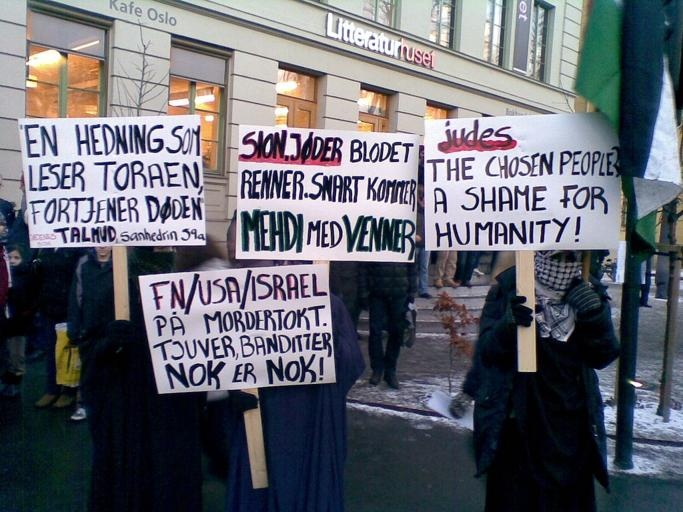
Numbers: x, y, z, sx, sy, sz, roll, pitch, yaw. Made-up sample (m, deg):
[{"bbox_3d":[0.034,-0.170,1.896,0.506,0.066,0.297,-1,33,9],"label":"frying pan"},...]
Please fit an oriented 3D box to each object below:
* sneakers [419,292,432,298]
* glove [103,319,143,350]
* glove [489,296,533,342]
[{"bbox_3d":[1.594,0.731,11.739,0.248,0.115,0.089,2,7,16],"label":"sneakers"},{"bbox_3d":[-1.426,0.514,4.116,0.194,0.181,0.185,1,-7,-22],"label":"glove"},{"bbox_3d":[1.048,0.375,3.885,0.087,0.256,0.252,-8,-27,-2],"label":"glove"}]
